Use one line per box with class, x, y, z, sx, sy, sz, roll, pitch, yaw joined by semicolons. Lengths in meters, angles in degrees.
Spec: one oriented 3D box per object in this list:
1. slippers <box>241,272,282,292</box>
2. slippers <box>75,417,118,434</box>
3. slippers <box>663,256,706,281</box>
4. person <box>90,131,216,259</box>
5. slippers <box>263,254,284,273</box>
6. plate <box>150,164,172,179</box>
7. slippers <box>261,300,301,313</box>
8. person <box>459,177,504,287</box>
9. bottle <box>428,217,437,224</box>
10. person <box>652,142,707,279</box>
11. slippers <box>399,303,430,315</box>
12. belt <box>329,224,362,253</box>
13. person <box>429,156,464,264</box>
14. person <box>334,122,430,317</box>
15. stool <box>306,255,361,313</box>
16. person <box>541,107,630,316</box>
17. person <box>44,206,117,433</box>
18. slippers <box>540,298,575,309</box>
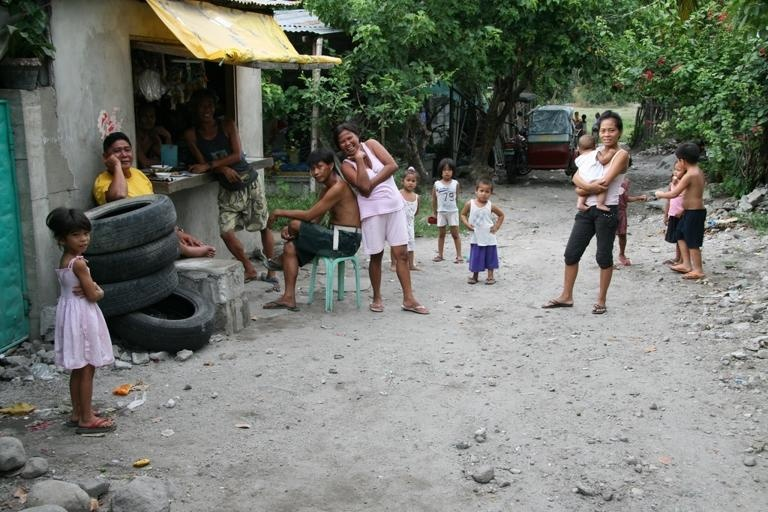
slippers;-1.661;0.363;9.182;0.635;0.169;0.221;3;16;11
slippers;-2.411;1.399;5.450;0.256;0.081;0.140;0;7;-5
slippers;4.130;0.149;9.052;0.458;0.471;0.245;1;5;3
person;-2.344;-0.700;7.307;1.605;1.665;1.027;0;15;3
slippers;-1.546;0.109;9.232;0.235;0.217;0.309;0;1;-7
plate;-2.762;-1.042;8.132;0.197;0.109;0.285;0;2;-2
slippers;-1.269;0.616;8.030;0.388;0.098;0.161;5;1;-1
person;1.380;-0.348;9.120;0.551;1.442;0.711;0;15;7
bottle;0.731;-0.539;9.918;0.151;0.112;0.091;-2;15;-37
person;4.134;-0.632;8.916;0.589;1.791;0.666;6;17;26
slippers;0.394;0.639;8.031;0.254;0.067;0.142;5;11;31
belt;-0.464;-0.217;7.887;0.305;0.232;0.306;7;4;14
person;1.046;-0.774;10.520;0.481;1.635;1.413;0;15;7
person;-0.041;-0.448;7.919;0.980;2.279;0.558;-3;15;-4
stool;-0.650;0.294;8.262;0.769;0.590;0.816;5;3;28
person;2.508;-0.536;7.866;0.727;2.362;0.682;4;16;19
person;-2.518;0.531;5.390;0.422;1.844;0.496;-10;17;-27
slippers;2.167;0.594;8.092;0.354;0.103;0.139;2;5;6
